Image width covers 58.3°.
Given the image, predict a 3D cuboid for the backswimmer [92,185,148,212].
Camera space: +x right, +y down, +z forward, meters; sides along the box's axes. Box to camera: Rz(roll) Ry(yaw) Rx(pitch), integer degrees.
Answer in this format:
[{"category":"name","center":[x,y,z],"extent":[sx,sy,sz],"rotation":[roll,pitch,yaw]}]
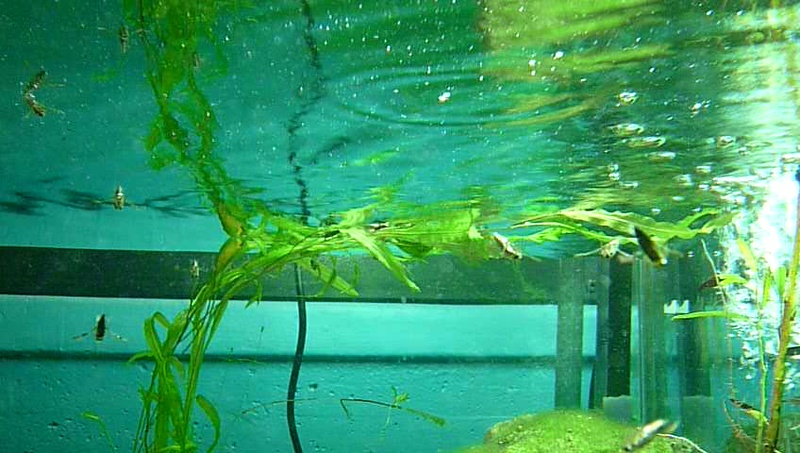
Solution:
[{"category":"backswimmer","center":[-3.160,-0.304,8.077],"extent":[0.454,0.149,0.261],"rotation":[2,-46,-11]}]

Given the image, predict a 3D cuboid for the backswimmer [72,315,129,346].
[{"category":"backswimmer","center":[-3.389,1.190,8.016],"extent":[0.418,0.097,0.343],"rotation":[5,-61,-4]}]

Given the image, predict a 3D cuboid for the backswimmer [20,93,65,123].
[{"category":"backswimmer","center":[-3.530,-1.157,7.000],"extent":[0.257,0.064,0.234],"rotation":[-13,-22,9]}]
